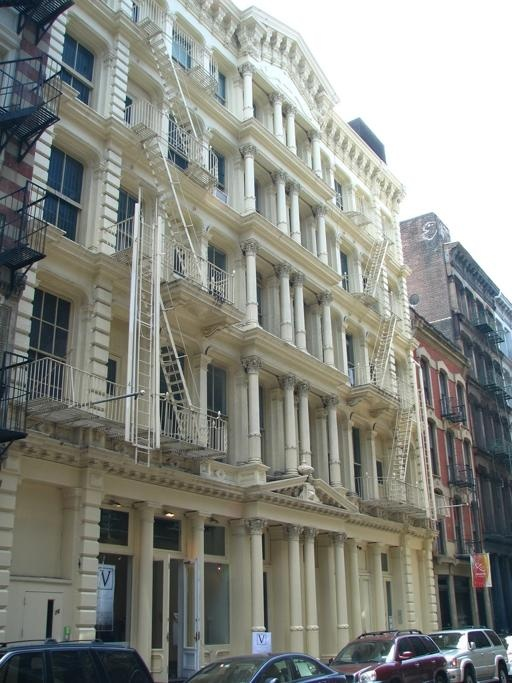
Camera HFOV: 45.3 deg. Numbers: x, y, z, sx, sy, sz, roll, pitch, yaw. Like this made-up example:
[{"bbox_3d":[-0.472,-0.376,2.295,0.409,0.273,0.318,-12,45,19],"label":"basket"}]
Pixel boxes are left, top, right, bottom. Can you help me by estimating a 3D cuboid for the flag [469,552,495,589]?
[{"bbox_3d":[13.323,13.565,36.371,0.748,1.816,1.366,16,-28,-33],"label":"flag"}]
